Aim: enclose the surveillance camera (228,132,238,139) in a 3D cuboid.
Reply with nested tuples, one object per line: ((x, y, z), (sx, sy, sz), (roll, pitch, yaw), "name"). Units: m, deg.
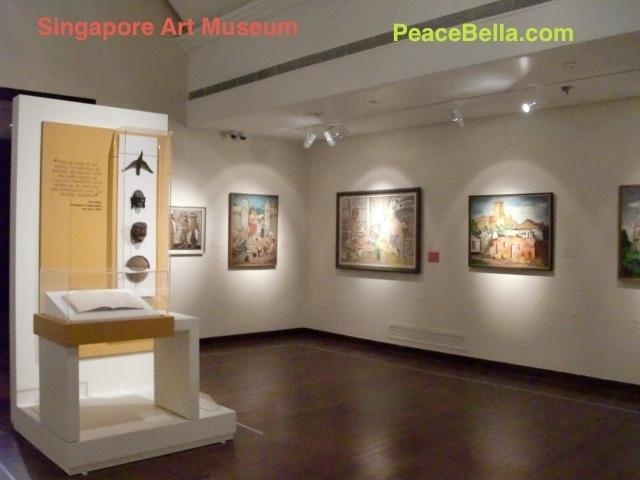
((-1.808, -2.201, 9.729), (0.157, 0.128, 0.248), (1, 0, -11), "surveillance camera")

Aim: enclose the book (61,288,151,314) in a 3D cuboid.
((-2.044, 0.579, 4.464), (0.720, 0.245, 0.153), (0, 0, -29), "book")

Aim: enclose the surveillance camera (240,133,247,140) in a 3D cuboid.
((-1.600, -2.177, 9.700), (0.109, 0.152, 0.052), (-6, 30, -15), "surveillance camera")
